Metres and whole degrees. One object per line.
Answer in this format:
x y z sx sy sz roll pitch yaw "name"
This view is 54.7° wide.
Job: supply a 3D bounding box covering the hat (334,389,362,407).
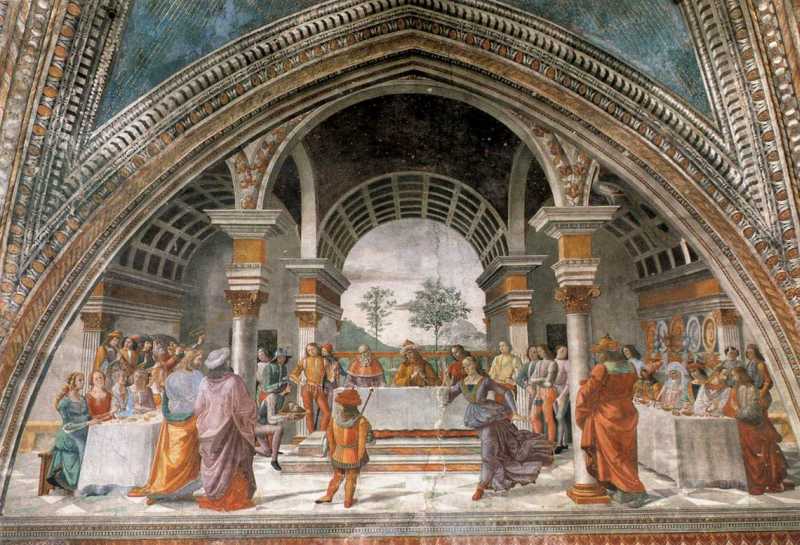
-0.729 1.720 10.596 0.282 0.131 0.279 11 -12 -36 "hat"
